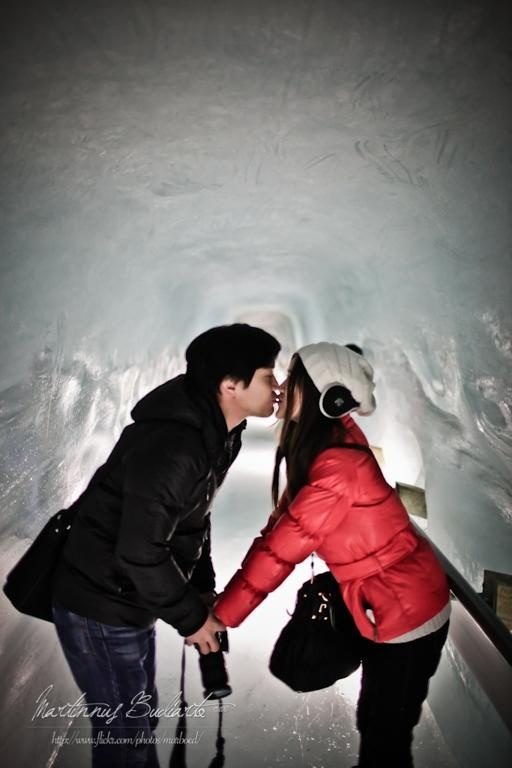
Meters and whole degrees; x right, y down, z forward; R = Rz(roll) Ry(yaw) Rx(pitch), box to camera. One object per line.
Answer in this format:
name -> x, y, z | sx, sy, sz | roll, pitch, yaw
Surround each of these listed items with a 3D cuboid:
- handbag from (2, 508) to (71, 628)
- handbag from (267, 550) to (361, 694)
handbag -> -0.567, 0.495, 1.423 | 0.171, 0.283, 0.078 | 0, -11, 44
handbag -> 0.181, 0.687, 1.484 | 0.271, 0.311, 0.188 | 8, -14, -5
